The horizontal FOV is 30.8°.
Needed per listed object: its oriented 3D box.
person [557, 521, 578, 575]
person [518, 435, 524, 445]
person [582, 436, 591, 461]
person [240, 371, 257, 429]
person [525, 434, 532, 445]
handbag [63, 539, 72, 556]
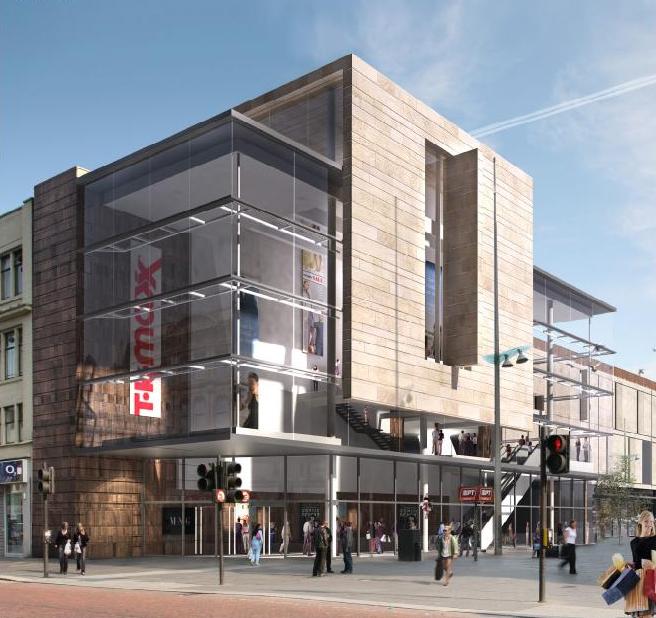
[{"bbox_3d":[8.977,9.030,44.210,0.601,1.659,2.542,5,4,12],"label":"person"},{"bbox_3d":[10.193,7.040,62.687,0.129,0.541,0.736,6,4,26],"label":"person"},{"bbox_3d":[15.247,8.352,69.953,0.328,1.404,1.131,7,5,39],"label":"person"},{"bbox_3d":[-2.931,3.583,45.419,0.450,2.041,1.065,7,5,36],"label":"person"},{"bbox_3d":[10.786,7.143,63.842,0.341,0.591,1.525,5,4,11],"label":"person"},{"bbox_3d":[-9.289,8.681,42.601,0.216,0.692,0.995,3,5,-7],"label":"handbag"}]
